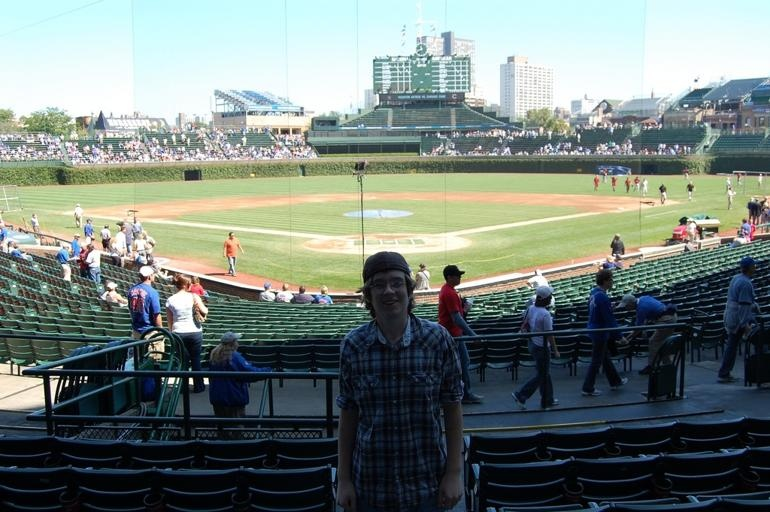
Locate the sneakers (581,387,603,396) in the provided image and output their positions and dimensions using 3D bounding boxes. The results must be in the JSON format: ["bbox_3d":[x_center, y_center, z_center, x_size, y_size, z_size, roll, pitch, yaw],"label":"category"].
[{"bbox_3d":[3.683,2.444,16.297,0.350,0.110,0.115,2,-4,-4],"label":"sneakers"}]

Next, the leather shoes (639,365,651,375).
[{"bbox_3d":[4.754,2.098,16.740,0.160,0.144,0.425,1,4,15],"label":"leather shoes"}]

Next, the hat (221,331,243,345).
[{"bbox_3d":[-2.537,1.439,15.673,0.313,0.137,0.469,10,17,38],"label":"hat"}]

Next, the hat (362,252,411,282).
[{"bbox_3d":[0.005,0.143,12.549,0.591,0.273,0.508,-1,0,-3],"label":"hat"}]

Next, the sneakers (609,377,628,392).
[{"bbox_3d":[4.206,2.294,16.540,0.475,0.171,0.163,-28,21,-35],"label":"sneakers"}]

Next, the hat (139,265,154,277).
[{"bbox_3d":[-4.746,0.333,18.326,0.278,0.153,0.334,-7,16,-15],"label":"hat"}]

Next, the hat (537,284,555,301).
[{"bbox_3d":[2.886,0.657,16.422,0.304,0.141,0.225,-33,39,-31],"label":"hat"}]

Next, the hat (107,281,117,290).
[{"bbox_3d":[-7.101,0.828,23.847,0.279,0.108,0.356,25,11,-20],"label":"hat"}]

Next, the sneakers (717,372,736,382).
[{"bbox_3d":[6.255,2.247,16.839,0.365,0.114,0.133,-2,11,-4],"label":"sneakers"}]

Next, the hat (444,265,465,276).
[{"bbox_3d":[1.255,0.267,16.313,0.334,0.133,0.203,-1,9,-3],"label":"hat"}]

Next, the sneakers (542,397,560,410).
[{"bbox_3d":[2.871,2.573,15.897,0.394,0.210,0.116,-13,36,-15],"label":"sneakers"}]

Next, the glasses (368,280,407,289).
[{"bbox_3d":[0.044,0.363,12.522,0.535,0.156,0.081,-1,16,2],"label":"glasses"}]

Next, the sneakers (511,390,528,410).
[{"bbox_3d":[2.361,2.525,15.957,0.200,0.395,0.140,-31,35,7],"label":"sneakers"}]
